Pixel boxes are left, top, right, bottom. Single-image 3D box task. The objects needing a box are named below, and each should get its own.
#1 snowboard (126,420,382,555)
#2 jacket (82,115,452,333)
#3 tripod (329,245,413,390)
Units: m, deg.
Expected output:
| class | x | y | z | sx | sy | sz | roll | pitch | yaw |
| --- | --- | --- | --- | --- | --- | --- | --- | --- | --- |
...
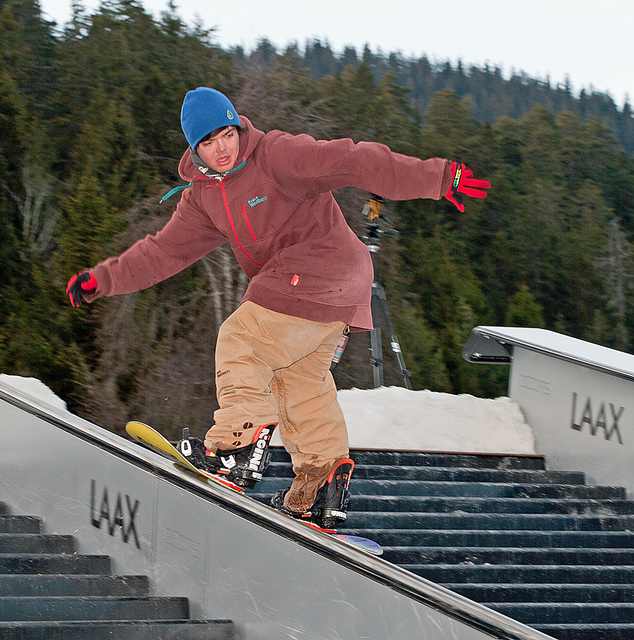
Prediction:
| class | x | y | z | sx | sy | sz | roll | pitch | yaw |
| --- | --- | --- | --- | --- | --- | --- | --- | --- | --- |
| snowboard | -0.288 | 0.742 | 5.163 | 1.287 | 0.115 | 0.237 | 22 | -22 | 11 |
| jacket | -0.129 | -0.415 | 5.623 | 1.548 | 1.011 | 1.428 | 1 | 16 | 10 |
| tripod | 0.469 | 0.080 | 9.171 | 0.593 | 1.307 | 0.632 | 8 | 20 | 37 |
